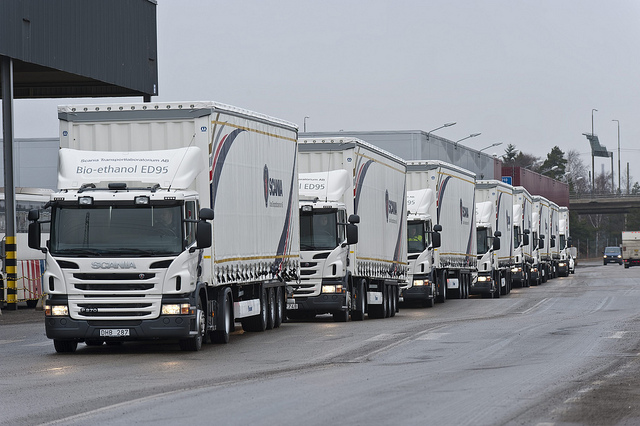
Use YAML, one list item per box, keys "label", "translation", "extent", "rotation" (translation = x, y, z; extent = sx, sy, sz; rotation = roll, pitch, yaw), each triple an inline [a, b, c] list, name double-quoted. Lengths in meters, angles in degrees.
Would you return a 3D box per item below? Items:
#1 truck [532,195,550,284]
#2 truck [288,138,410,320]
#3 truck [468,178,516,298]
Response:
- label: "truck"
  translation: [15.293, 1.757, 62.104]
  extent: [1.947, 3.481, 6.415]
  rotation: [-1, -4, 14]
- label: "truck"
  translation: [0.911, 0.651, 32.999]
  extent: [2.816, 5.595, 9.823]
  rotation: [0, -4, 16]
- label: "truck"
  translation: [8.318, 1.299, 46.769]
  extent: [2.366, 5.813, 5.104]
  rotation: [1, 2, 10]
